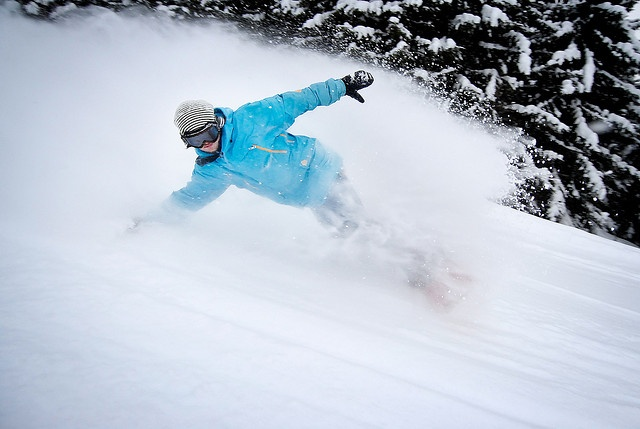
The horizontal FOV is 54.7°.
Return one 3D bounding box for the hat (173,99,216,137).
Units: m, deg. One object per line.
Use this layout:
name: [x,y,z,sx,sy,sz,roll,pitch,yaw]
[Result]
hat: [-1.849,-1.395,9.002,0.563,0.441,0.668,-3,5,40]
